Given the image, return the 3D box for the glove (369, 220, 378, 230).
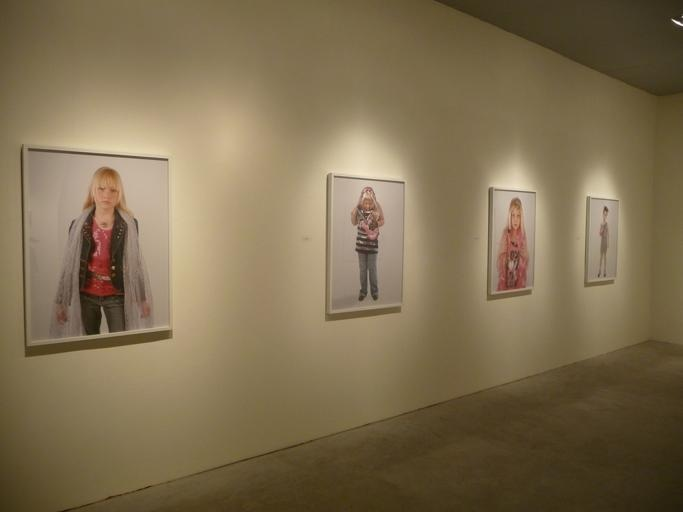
[{"bbox_3d":[0.405,-0.390,6.413,0.073,0.112,0.031,0,-10,-14],"label":"glove"}]
